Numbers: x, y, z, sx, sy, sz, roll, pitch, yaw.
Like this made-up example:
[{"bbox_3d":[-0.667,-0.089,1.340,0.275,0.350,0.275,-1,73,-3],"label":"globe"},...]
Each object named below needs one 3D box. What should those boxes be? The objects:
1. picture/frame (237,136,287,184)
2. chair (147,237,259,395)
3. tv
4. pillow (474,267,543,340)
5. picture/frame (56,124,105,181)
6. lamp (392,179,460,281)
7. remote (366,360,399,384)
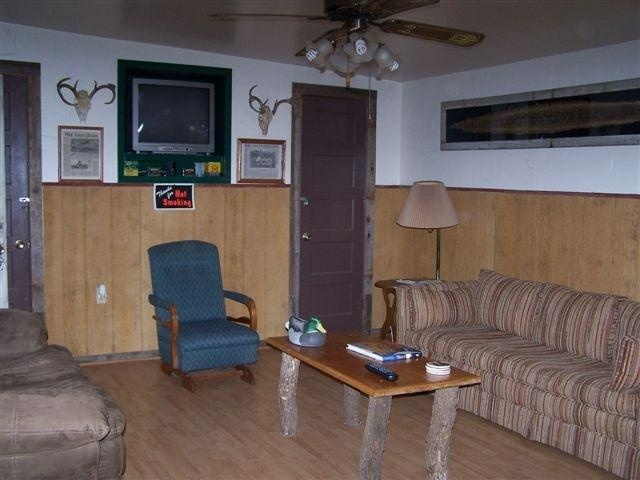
[{"bbox_3d":[-0.674,-0.889,5.743,0.537,0.472,0.039,-1,4,-24],"label":"picture/frame"},{"bbox_3d":[-1.166,0.680,4.973,0.845,1.255,1.066,-4,9,-30],"label":"chair"},{"bbox_3d":[-1.598,-1.294,5.553,0.880,0.770,0.478,-5,18,-28],"label":"tv"},{"bbox_3d":[1.723,0.620,4.757,0.244,0.504,0.705,-5,11,-37],"label":"pillow"},{"bbox_3d":[-2.336,-0.855,5.034,0.549,0.698,0.052,-1,3,-25],"label":"picture/frame"},{"bbox_3d":[1.105,-0.079,5.523,0.596,1.090,0.700,2,8,4],"label":"lamp"},{"bbox_3d":[0.393,0.829,3.286,0.124,0.039,0.274,-3,8,-29],"label":"remote"}]
